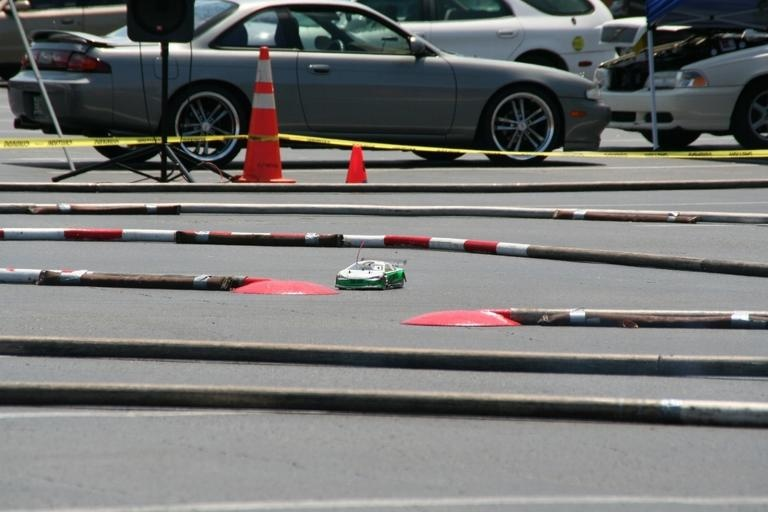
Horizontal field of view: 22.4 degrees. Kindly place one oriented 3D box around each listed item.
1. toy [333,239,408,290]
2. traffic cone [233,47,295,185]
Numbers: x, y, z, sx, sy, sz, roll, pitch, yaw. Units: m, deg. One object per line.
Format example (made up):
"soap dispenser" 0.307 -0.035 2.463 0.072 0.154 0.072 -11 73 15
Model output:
"toy" -0.142 0.148 15.813 0.424 0.206 0.669 3 4 19
"traffic cone" -1.343 -1.360 19.418 0.695 1.262 0.544 3 -5 -33
